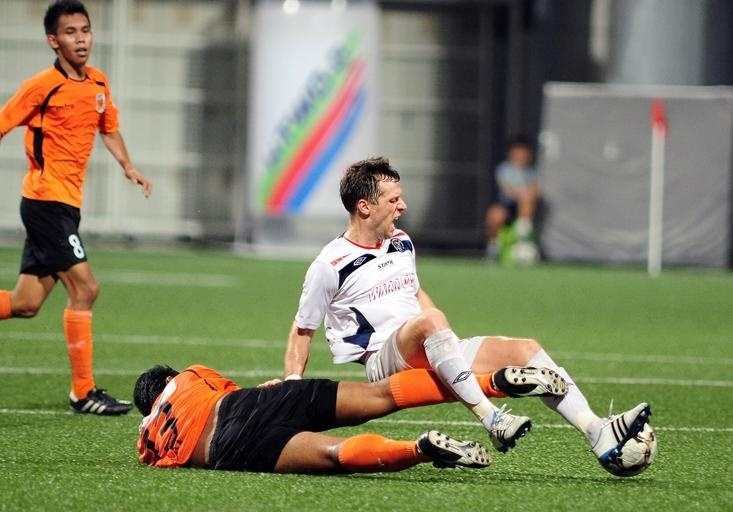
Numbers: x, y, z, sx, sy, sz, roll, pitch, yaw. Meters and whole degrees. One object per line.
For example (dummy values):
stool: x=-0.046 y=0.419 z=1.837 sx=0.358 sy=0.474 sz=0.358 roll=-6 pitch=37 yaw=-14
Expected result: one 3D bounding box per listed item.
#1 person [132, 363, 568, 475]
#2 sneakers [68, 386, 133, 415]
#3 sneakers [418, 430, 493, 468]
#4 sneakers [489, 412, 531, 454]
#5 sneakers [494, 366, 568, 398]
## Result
person: x=-0.332 y=1.032 z=7.649 sx=2.846 sy=0.701 sz=1.378 roll=-5 pitch=-2 yaw=30
sneakers: x=-1.866 y=1.033 z=8.633 sx=0.471 sy=0.225 sz=0.181 roll=2 pitch=-2 yaw=-4
sneakers: x=0.523 y=1.124 z=7.029 sx=0.384 sy=0.182 sz=0.207 roll=21 pitch=6 yaw=2
sneakers: x=0.844 y=1.040 z=7.195 sx=0.157 sy=0.252 sz=0.228 roll=-5 pitch=10 yaw=-42
sneakers: x=0.976 y=0.770 z=7.184 sx=0.364 sy=0.195 sz=0.163 roll=3 pitch=-20 yaw=-4
